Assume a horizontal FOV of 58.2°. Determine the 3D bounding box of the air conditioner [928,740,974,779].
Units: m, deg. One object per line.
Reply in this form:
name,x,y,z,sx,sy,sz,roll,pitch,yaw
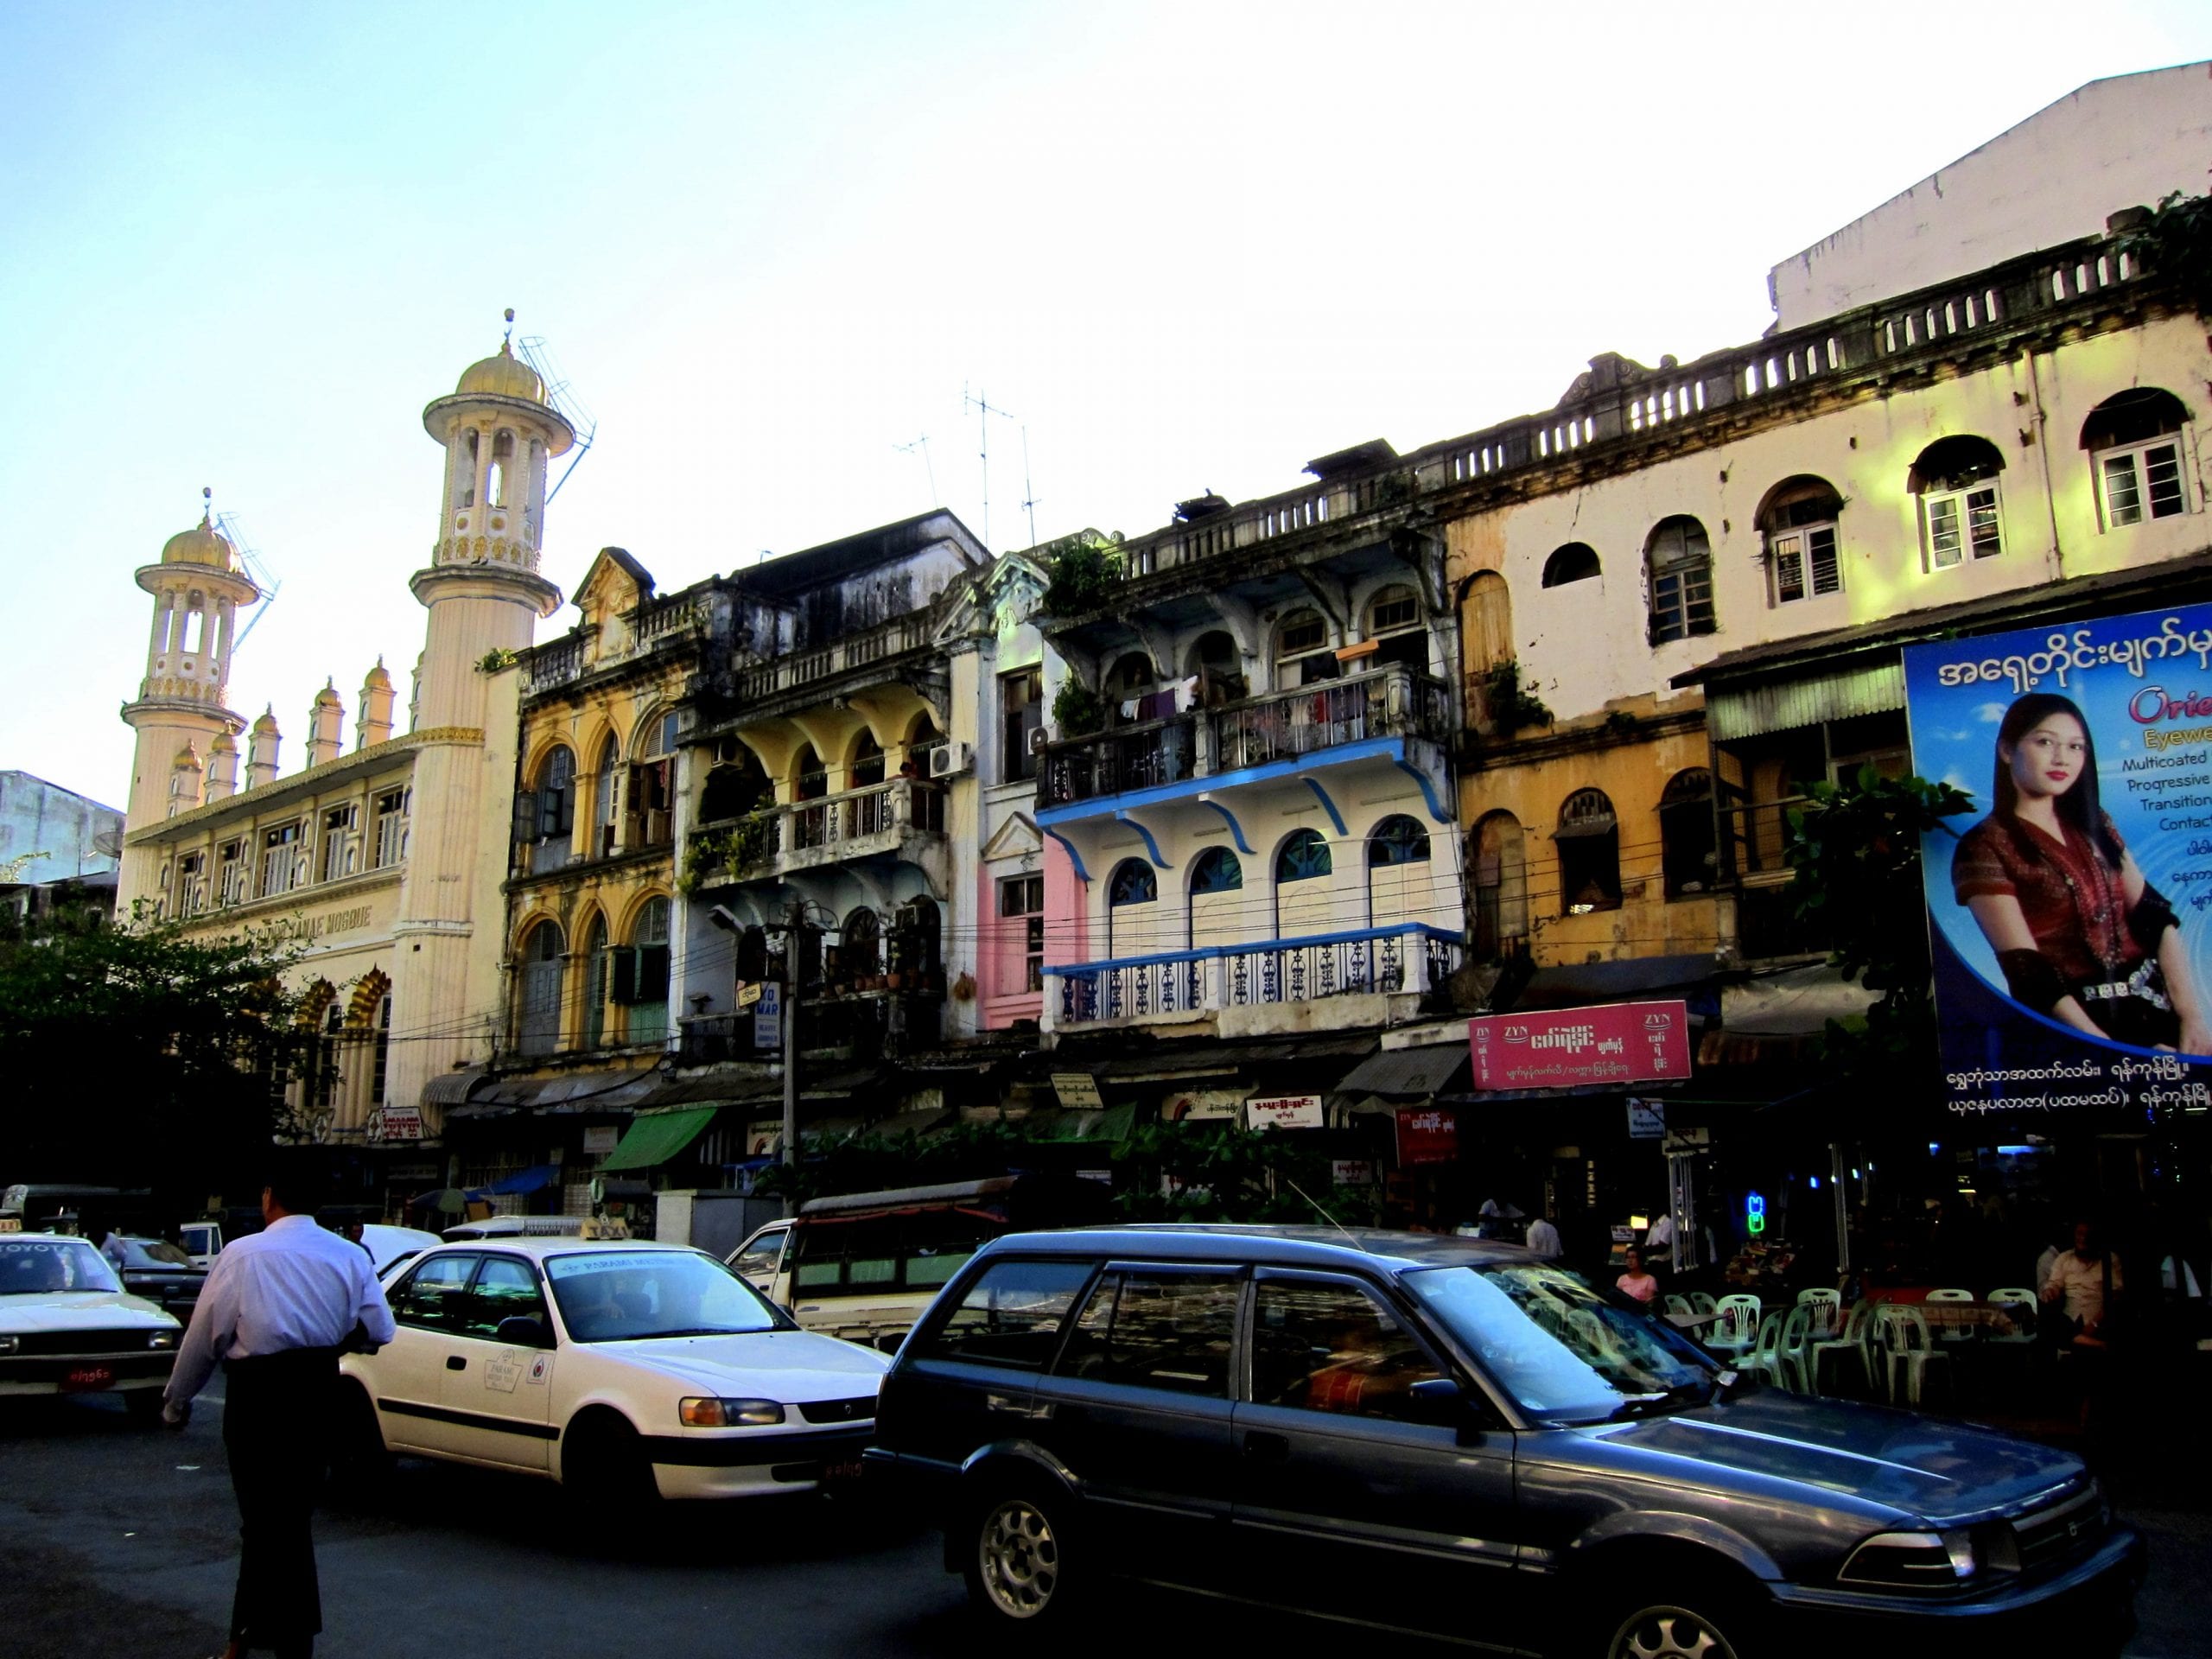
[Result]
air conditioner,-2.607,-1.174,32.716,0.616,0.415,0.216,-12,-19,41
